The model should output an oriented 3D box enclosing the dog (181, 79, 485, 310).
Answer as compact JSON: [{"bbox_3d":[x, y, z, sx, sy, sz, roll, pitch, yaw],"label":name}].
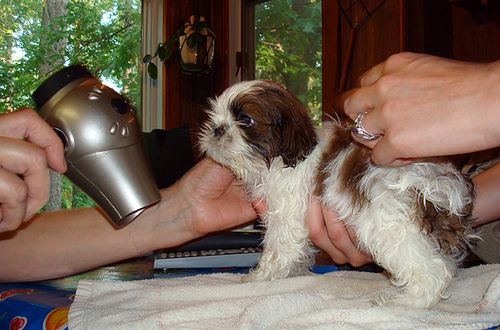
[{"bbox_3d":[0.436,0.111,2.093,1.276,0.895,0.808,-1,-5,38],"label":"dog"}]

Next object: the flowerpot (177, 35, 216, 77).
[{"bbox_3d":[-0.658,-1.195,4.471,0.414,0.348,0.405,-15,31,-13],"label":"flowerpot"}]

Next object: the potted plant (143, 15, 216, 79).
[{"bbox_3d":[-0.847,-1.343,4.520,0.839,0.598,0.776,3,9,38],"label":"potted plant"}]

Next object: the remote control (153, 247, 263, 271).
[{"bbox_3d":[-0.208,0.440,1.918,0.360,0.072,0.182,4,-2,-8],"label":"remote control"}]
